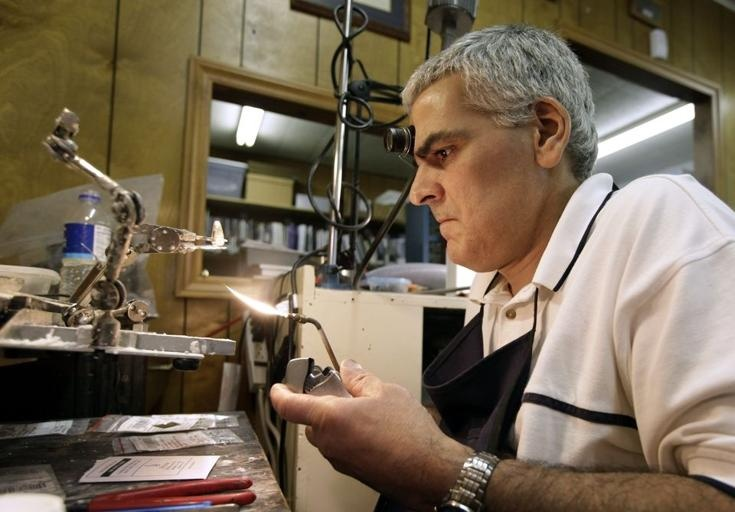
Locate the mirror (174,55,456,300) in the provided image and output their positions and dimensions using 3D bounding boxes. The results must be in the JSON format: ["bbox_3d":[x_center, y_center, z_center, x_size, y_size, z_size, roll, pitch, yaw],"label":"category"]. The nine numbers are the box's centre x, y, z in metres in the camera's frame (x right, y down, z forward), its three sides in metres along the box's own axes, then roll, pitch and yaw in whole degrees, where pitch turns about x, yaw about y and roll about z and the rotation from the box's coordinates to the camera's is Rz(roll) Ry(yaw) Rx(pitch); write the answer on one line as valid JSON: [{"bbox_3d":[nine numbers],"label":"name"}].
[{"bbox_3d":[-0.289,-0.344,2.813,0.958,1.173,0.072,7,-11,-29],"label":"mirror"}]

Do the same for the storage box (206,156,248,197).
[{"bbox_3d":[-0.966,-0.493,4.384,0.293,0.302,0.292,1,1,-42],"label":"storage box"}]

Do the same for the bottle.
[{"bbox_3d":[-0.880,-0.047,1.970,0.159,0.252,0.470,-8,14,-22],"label":"bottle"}]
